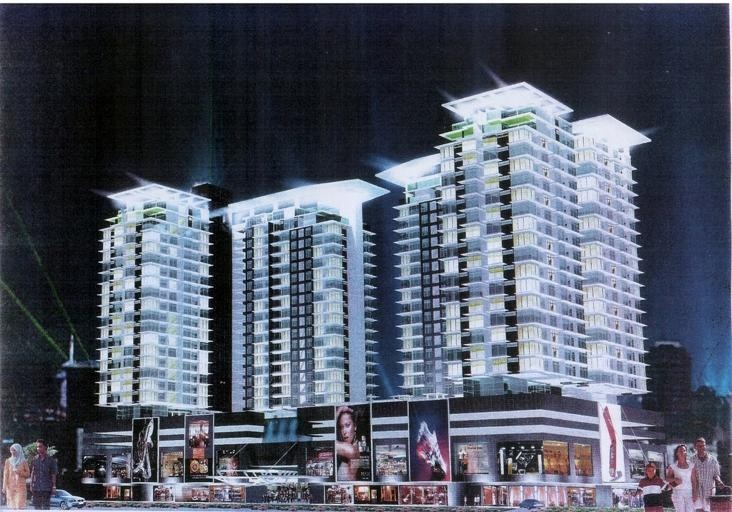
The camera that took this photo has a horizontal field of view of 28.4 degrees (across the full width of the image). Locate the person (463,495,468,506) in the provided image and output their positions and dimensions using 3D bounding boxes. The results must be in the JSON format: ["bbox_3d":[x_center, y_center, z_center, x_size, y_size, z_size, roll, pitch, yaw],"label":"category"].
[{"bbox_3d":[9.455,23.358,138.138,0.443,0.833,0.237,-2,-21,1],"label":"person"}]
